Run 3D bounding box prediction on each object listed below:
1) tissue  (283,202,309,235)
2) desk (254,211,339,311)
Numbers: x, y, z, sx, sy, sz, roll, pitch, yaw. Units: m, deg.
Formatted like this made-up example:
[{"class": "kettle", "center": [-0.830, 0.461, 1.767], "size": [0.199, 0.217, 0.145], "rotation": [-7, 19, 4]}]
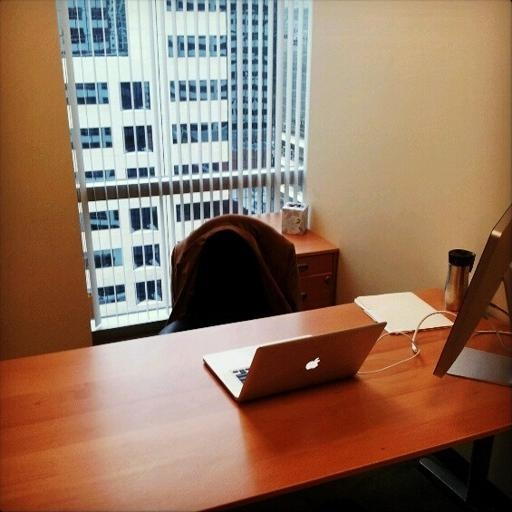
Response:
[{"class": "tissue ", "center": [0.269, -0.267, 3.004], "size": [0.168, 0.208, 0.189], "rotation": [0, 13, -1]}, {"class": "desk", "center": [0.253, 0.050, 2.966], "size": [0.313, 0.666, 0.469], "rotation": [-7, 22, -16]}]
